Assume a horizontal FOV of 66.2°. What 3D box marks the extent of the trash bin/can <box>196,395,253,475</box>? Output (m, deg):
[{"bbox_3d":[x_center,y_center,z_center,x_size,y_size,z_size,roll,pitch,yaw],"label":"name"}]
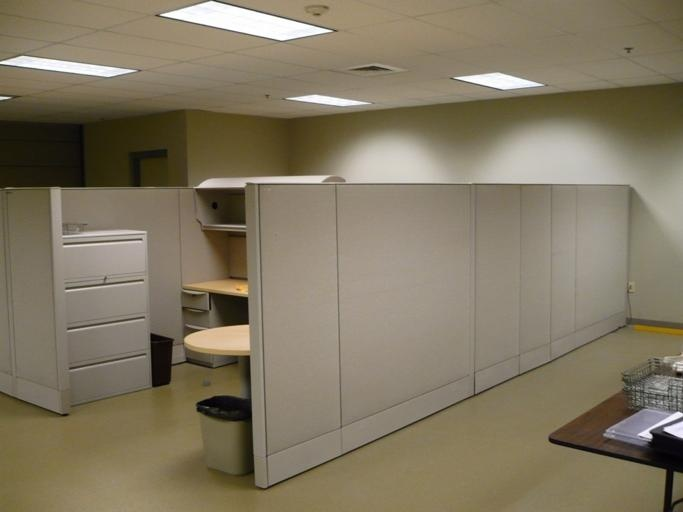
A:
[{"bbox_3d":[-0.914,1.329,4.043,0.529,0.496,0.465,0,1,36],"label":"trash bin/can"}]
